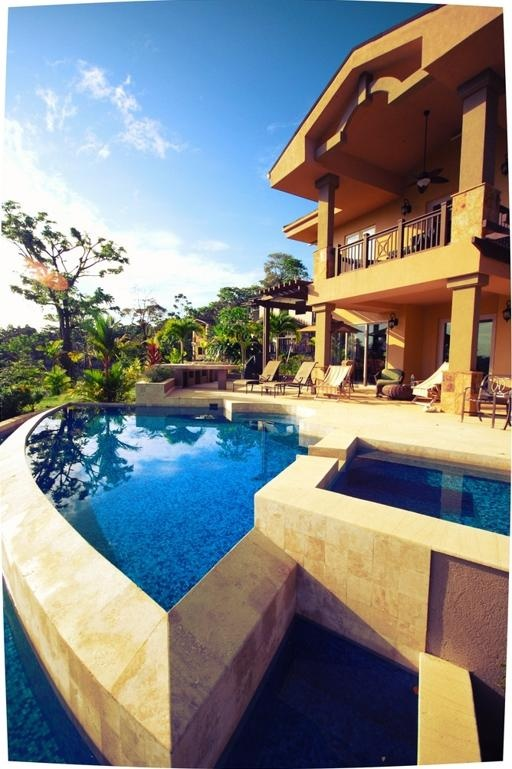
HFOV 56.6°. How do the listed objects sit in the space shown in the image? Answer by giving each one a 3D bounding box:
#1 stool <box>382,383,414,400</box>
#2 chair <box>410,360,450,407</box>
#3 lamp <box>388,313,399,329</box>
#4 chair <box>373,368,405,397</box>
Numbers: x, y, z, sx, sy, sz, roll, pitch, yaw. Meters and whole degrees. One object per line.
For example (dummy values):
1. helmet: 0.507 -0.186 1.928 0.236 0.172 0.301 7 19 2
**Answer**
1. stool: 3.584 0.202 12.024 0.446 0.235 0.453 3 7 34
2. chair: 3.801 0.028 10.466 0.610 1.102 2.387 4 9 18
3. lamp: 4.139 -1.884 14.438 0.253 0.461 0.361 0 9 -11
4. chair: 3.715 -0.139 13.725 0.779 1.099 0.905 2 -3 29
